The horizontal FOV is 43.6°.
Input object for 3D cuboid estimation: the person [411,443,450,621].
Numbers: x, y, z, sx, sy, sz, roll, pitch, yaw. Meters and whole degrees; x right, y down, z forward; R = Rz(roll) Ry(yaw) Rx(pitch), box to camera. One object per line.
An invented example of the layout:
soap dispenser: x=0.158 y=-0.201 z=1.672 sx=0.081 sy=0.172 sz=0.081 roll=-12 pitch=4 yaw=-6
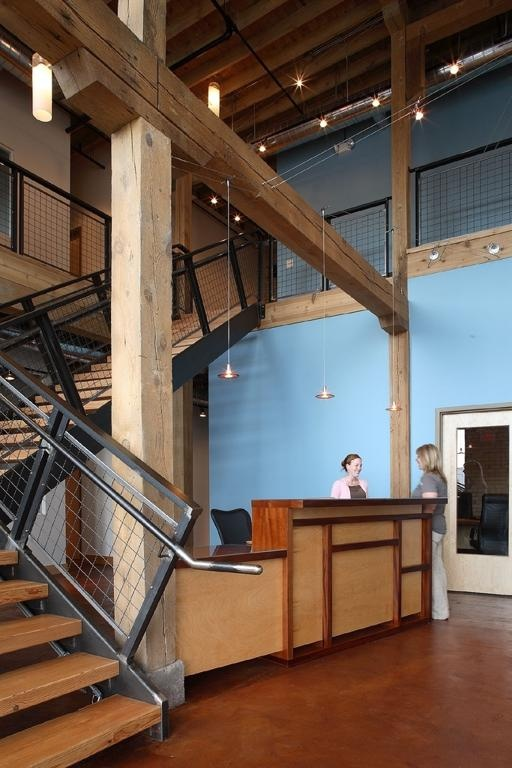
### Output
person: x=1.403 y=1.162 z=5.172 sx=0.331 sy=1.349 sz=0.617 roll=3 pitch=-7 yaw=14
